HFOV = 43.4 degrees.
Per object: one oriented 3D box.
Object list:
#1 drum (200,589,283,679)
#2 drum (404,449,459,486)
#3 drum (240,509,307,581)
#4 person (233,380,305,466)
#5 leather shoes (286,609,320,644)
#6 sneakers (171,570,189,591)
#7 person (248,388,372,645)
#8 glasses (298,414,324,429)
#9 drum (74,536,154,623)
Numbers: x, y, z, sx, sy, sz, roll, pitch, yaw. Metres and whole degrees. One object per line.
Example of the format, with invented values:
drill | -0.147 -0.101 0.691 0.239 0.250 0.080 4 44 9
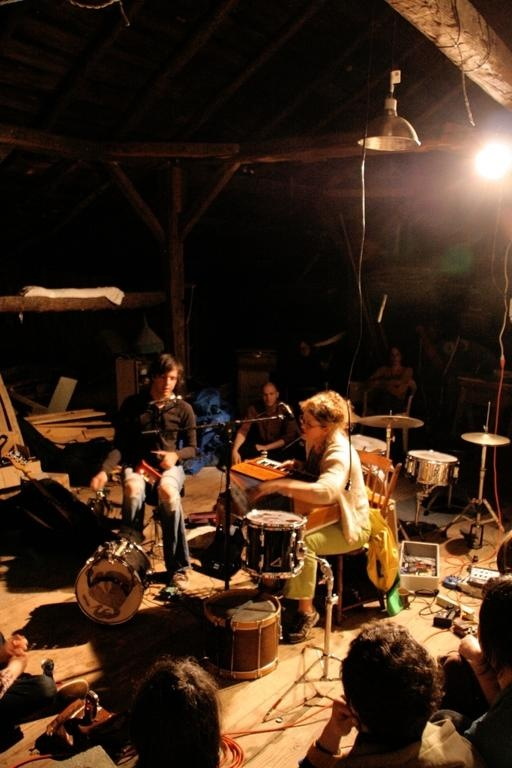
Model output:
drum | -0.058 1.392 3.620 0.441 0.316 0.422 -1 7 0
drum | 1.476 0.750 5.456 0.327 0.192 0.333 0 10 0
drum | 0.082 0.877 3.543 0.345 0.297 0.344 0 0 13
person | 0.064 0.403 6.821 0.839 0.831 0.722 -4 17 -15
leather shoes | 0.289 1.498 3.951 0.097 0.109 0.271 -2 -5 24
sneakers | -0.521 1.388 4.512 0.106 0.132 0.138 -5 -14 4
person | 0.337 0.809 4.204 0.771 1.436 0.694 2 6 20
glasses | 0.349 0.243 4.160 0.100 0.030 0.093 6 11 -23
drum | -0.874 1.218 4.022 0.430 0.509 0.295 12 15 9
